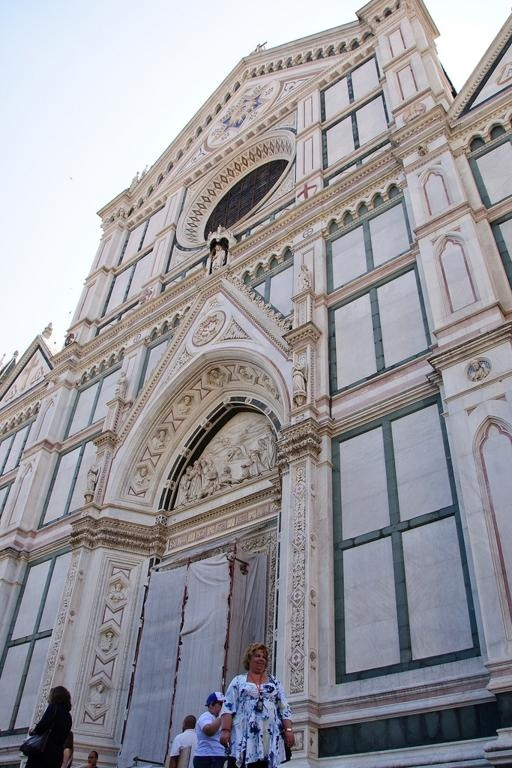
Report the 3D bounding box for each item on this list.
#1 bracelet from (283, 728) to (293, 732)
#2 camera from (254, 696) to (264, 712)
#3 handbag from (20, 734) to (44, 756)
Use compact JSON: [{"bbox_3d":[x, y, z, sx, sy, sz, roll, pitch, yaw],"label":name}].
[{"bbox_3d":[0.174,1.889,3.224,0.037,0.012,0.034,23,-22,-33],"label":"bracelet"},{"bbox_3d":[0.021,1.739,3.215,0.044,0.127,0.038,0,-34,7],"label":"camera"},{"bbox_3d":[-1.484,2.349,3.847,0.140,0.122,0.210,30,-45,-29],"label":"handbag"}]
